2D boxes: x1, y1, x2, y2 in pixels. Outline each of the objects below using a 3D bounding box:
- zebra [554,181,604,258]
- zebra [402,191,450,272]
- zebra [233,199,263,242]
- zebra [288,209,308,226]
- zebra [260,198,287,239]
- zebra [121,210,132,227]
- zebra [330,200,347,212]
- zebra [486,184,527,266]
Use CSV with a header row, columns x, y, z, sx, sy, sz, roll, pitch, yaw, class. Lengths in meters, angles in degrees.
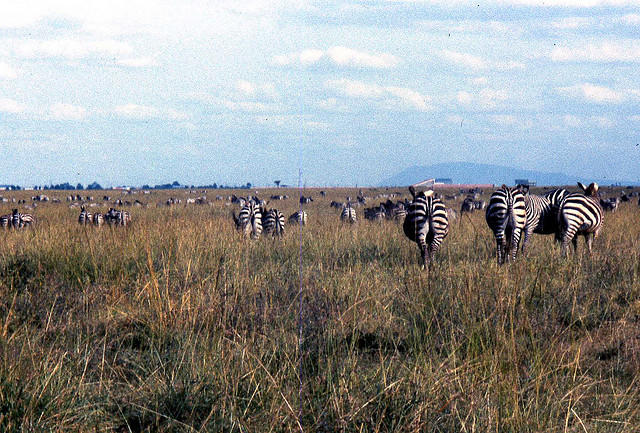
x,y,z,sx,sy,sz,roll,pitch,yaw,class
5.808,-0.001,18.156,0.964,1.620,2.085,0,1,25,zebra
2.228,0.241,16.943,0.922,1.591,1.367,-1,1,7,zebra
-1.898,0.084,21.490,0.747,0.889,2.461,-1,1,-5,zebra
-0.700,-0.030,25.016,0.432,0.846,1.406,1,4,-13,zebra
-1.436,0.193,22.538,0.443,1.026,1.589,10,18,21,zebra
-6.163,0.054,25.579,0.292,0.729,1.278,1,10,-11,zebra
0.767,-0.598,39.291,1.056,0.722,0.333,3,1,2,zebra
4.266,-0.128,18.485,0.809,1.955,2.856,1,14,11,zebra
